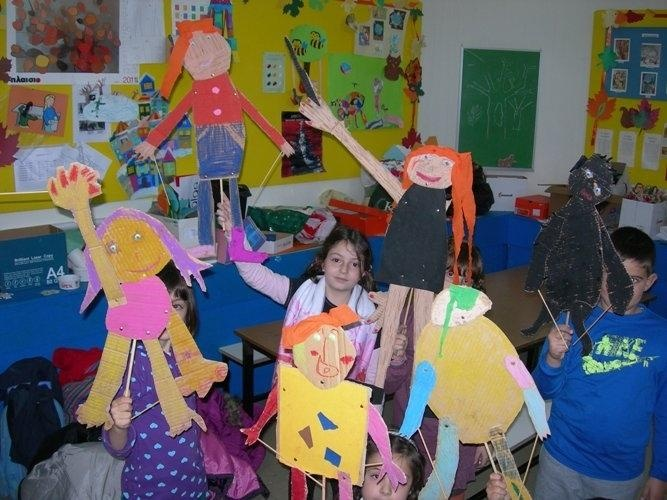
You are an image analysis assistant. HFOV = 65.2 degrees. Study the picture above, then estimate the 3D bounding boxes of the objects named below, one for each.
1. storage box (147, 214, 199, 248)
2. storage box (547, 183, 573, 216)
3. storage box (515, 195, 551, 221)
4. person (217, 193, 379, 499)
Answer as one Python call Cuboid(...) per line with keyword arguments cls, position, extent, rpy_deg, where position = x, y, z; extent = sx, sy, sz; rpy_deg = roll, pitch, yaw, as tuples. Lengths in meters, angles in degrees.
Cuboid(cls="storage box", position=(-0.885, -0.132, 2.976), extent=(0.182, 0.124, 0.189), rpy_deg=(11, 15, 41))
Cuboid(cls="storage box", position=(1.774, -0.415, 4.156), extent=(0.165, 0.211, 0.240), rpy_deg=(6, 9, 18))
Cuboid(cls="storage box", position=(1.661, -0.354, 4.356), extent=(0.218, 0.144, 0.221), rpy_deg=(14, 20, 40))
Cuboid(cls="person", position=(-0.119, 0.166, 2.084), extent=(0.682, 0.717, 0.732), rpy_deg=(1, 9, -14))
